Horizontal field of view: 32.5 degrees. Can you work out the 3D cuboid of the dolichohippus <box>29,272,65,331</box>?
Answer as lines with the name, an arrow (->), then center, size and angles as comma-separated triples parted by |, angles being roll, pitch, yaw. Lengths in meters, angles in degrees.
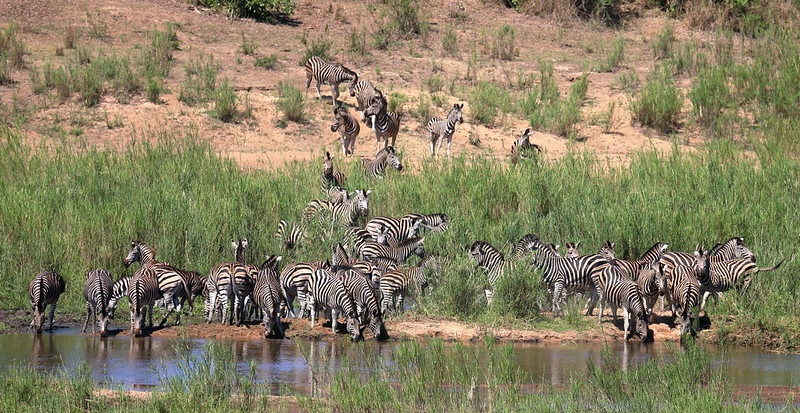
dolichohippus -> -11.677, 3.114, 45.401 | 0.978, 2.003, 0.509 | 1, -3, -19

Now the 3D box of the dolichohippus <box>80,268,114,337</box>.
dolichohippus -> -9.958, 3.186, 45.500 | 0.835, 1.947, 3.089 | 2, 16, -17

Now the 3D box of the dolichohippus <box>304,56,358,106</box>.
dolichohippus -> -2.903, -5.187, 57.600 | 2.804, 1.812, 0.859 | 21, 25, 32
